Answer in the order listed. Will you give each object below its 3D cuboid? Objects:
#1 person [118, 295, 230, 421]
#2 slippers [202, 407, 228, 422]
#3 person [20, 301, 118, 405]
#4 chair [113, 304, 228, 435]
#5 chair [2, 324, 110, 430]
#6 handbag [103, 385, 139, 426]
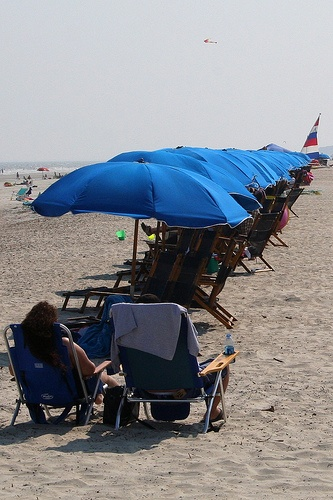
[{"bbox_3d":[-0.048,0.604,3.978,0.645,0.781,0.780,-1,0,16],"label":"person"},{"bbox_3d":[0.314,1.063,4.290,0.065,0.052,0.145,4,32,38],"label":"slippers"},{"bbox_3d":[-0.591,0.658,4.138,0.251,0.734,0.597,8,11,42],"label":"person"},{"bbox_3d":[0.049,0.754,4.218,0.678,0.762,0.733,-3,-9,23],"label":"chair"},{"bbox_3d":[-0.522,0.787,4.247,0.583,0.685,0.723,-2,-7,13],"label":"chair"},{"bbox_3d":[-0.275,0.977,4.299,0.210,0.239,0.362,1,-2,7],"label":"handbag"}]
